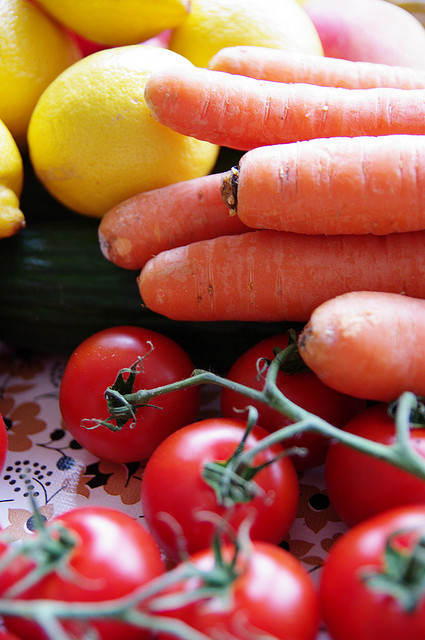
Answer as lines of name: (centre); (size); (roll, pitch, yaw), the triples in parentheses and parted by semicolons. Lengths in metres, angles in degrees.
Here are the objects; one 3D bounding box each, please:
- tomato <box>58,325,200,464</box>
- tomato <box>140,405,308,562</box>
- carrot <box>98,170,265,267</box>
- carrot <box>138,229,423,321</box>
tomato: (-0.087, 0.077, 0.629); (0.150, 0.133, 0.146); (5, 7, -31)
tomato: (0.012, 0.127, 0.452); (0.083, 0.096, 0.087); (38, 37, 18)
carrot: (-0.044, -0.104, 0.669); (0.219, 0.066, 0.072); (-17, 28, -6)
carrot: (0.040, -0.046, 0.637); (0.336, 0.096, 0.090); (-3, 43, 8)
